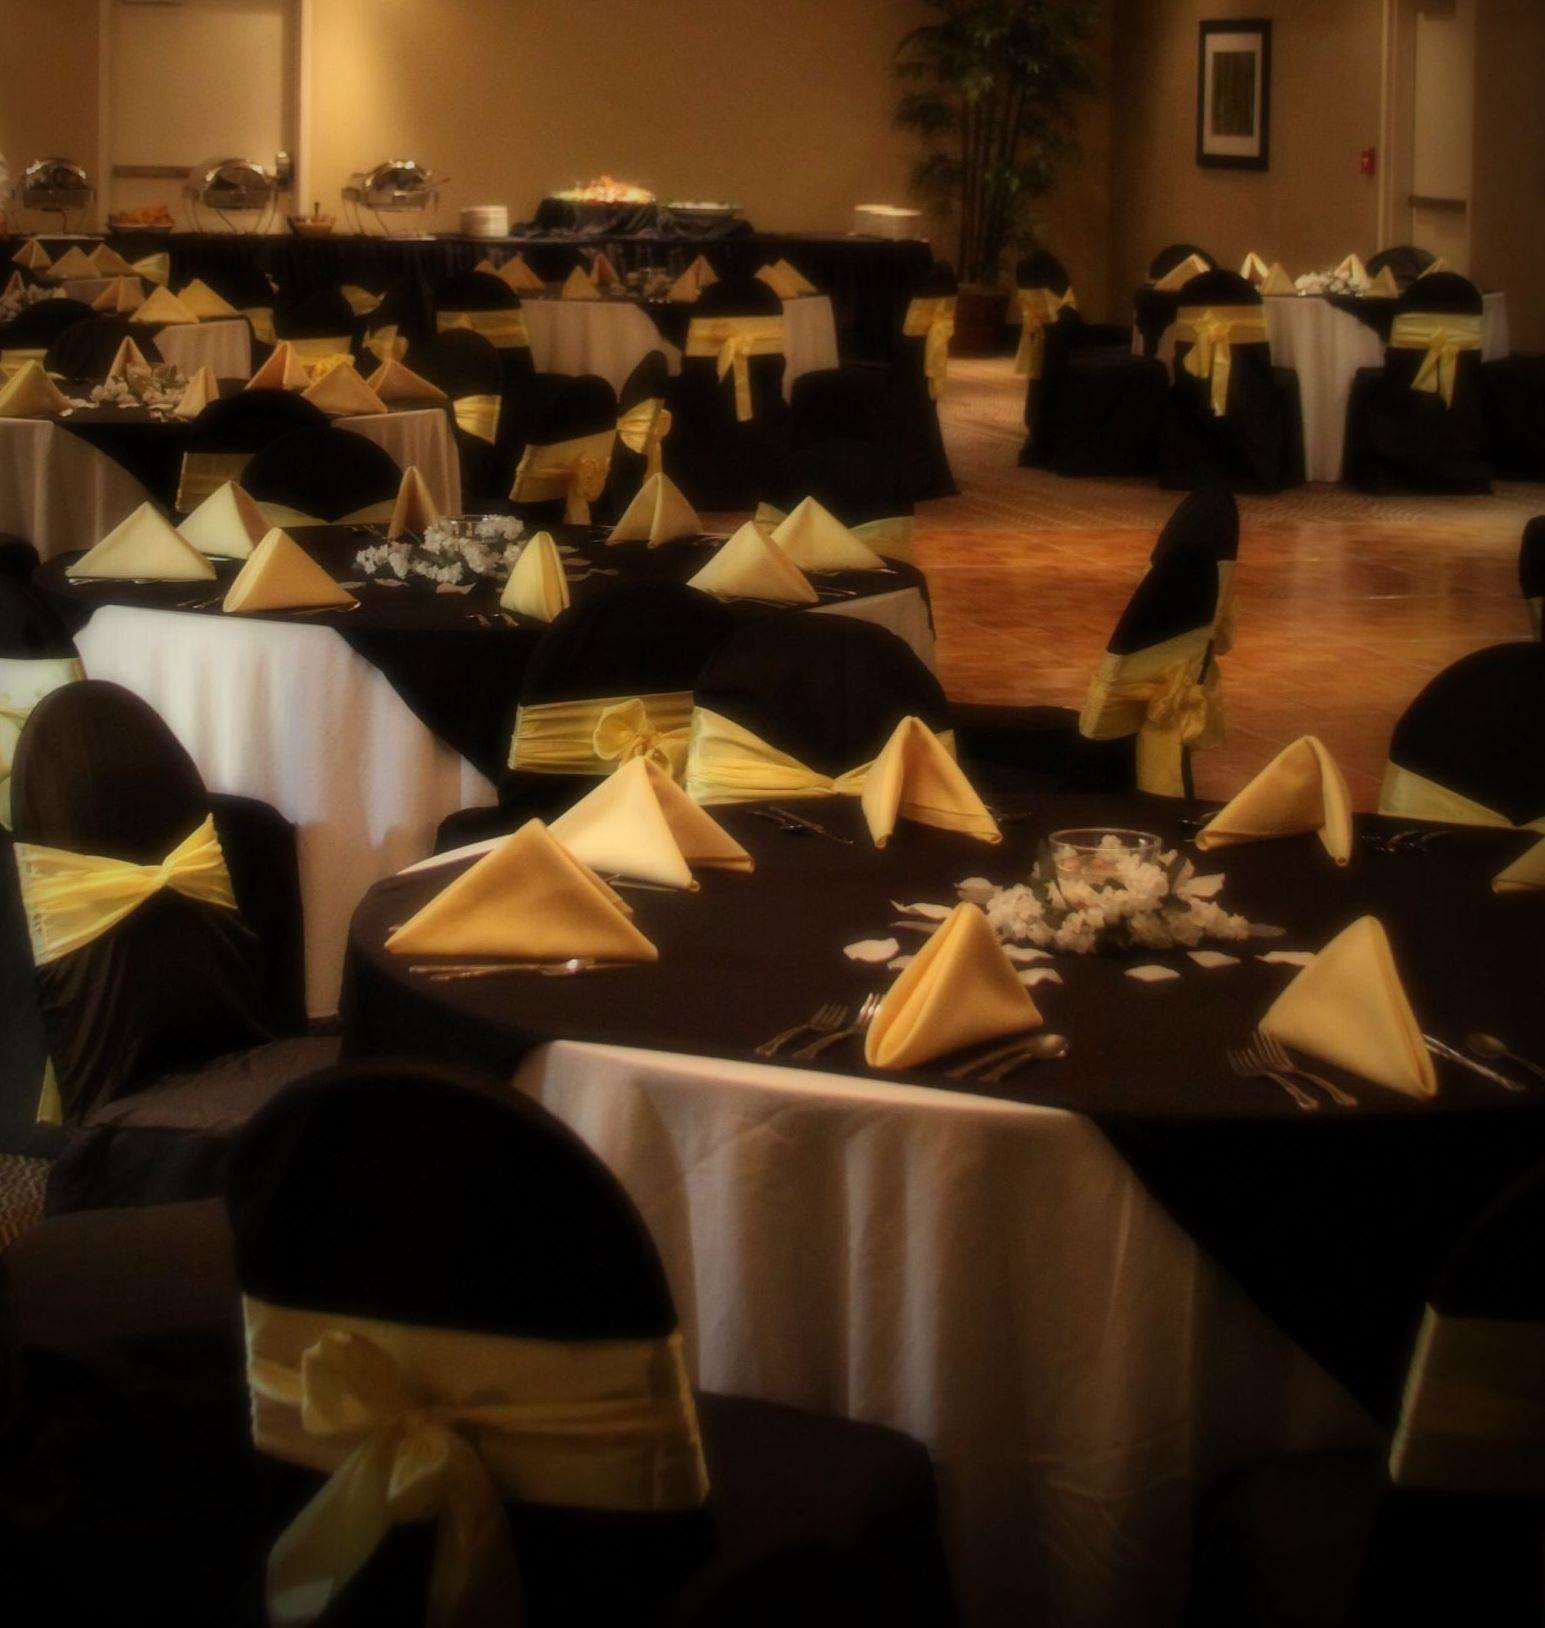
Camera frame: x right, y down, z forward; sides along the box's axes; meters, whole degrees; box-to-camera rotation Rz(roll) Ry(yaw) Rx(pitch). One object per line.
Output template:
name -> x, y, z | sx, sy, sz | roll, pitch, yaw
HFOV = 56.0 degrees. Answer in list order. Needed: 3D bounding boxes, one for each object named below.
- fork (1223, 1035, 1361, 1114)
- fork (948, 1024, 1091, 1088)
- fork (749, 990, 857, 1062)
fork -> 0.439, 0.205, 1.210 | 0.032, 0.015, 0.116 | -11, 24, -13
fork -> 0.204, 0.210, 1.260 | 0.043, 0.019, 0.131 | 23, 22, 32
fork -> 0.041, 0.178, 1.323 | 0.032, 0.020, 0.146 | 12, 19, 15
